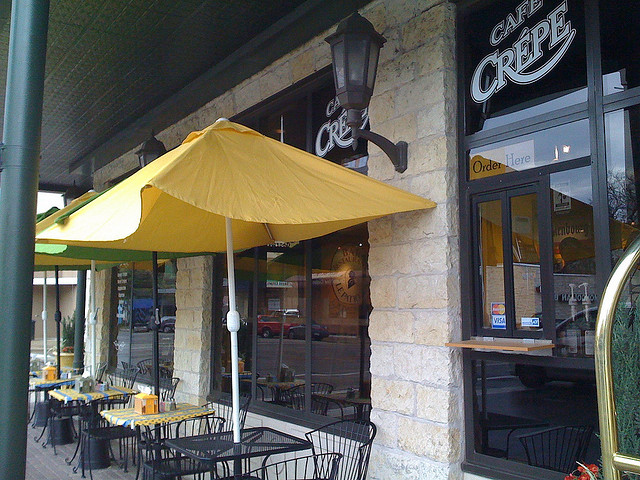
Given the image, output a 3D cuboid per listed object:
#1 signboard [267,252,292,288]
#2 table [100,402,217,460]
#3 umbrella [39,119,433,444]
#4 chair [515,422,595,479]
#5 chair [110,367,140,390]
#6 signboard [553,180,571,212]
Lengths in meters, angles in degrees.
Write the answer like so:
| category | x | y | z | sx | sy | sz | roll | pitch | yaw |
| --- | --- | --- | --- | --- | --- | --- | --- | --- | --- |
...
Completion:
| category | x | y | z | sx | sy | sz | roll | pitch | yaw |
| --- | --- | --- | --- | --- | --- | --- | --- | --- | --- |
| signboard | -0.426 | 0.291 | 6.248 | 0.293 | 0.327 | 0.203 | -3 | 2 | 19 |
| table | -1.555 | 1.803 | 5.667 | 0.670 | 0.474 | 0.676 | -2 | -5 | 44 |
| umbrella | -0.612 | -0.045 | 4.734 | 1.961 | 1.704 | 2.245 | 3 | 14 | 0 |
| chair | 1.611 | 1.384 | 4.250 | 0.358 | 0.539 | 0.399 | -2 | -7 | 40 |
| chair | -2.586 | 1.835 | 8.256 | 0.324 | 0.439 | 0.283 | -10 | -19 | 36 |
| signboard | 1.666 | -0.307 | 4.244 | 0.119 | 0.201 | 0.028 | -5 | -9 | 22 |
